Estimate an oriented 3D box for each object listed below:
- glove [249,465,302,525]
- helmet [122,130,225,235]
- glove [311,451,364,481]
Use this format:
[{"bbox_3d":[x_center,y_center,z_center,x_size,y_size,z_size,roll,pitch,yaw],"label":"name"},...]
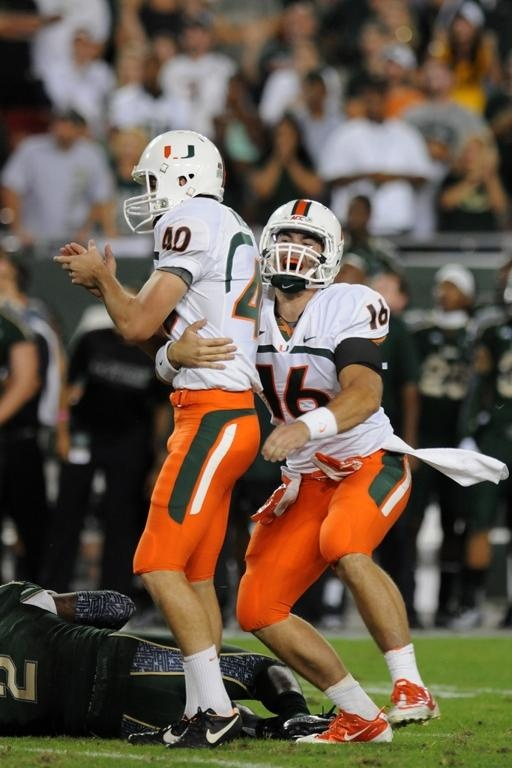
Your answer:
[{"bbox_3d":[0.019,0.346,2.778,0.078,0.189,0.112,41,-8,-6],"label":"glove"},{"bbox_3d":[-0.228,-0.612,2.817,0.436,0.350,0.288,2,4,2],"label":"helmet"},{"bbox_3d":[0.226,0.237,2.656,0.105,0.045,0.103,-37,50,-23],"label":"glove"}]
